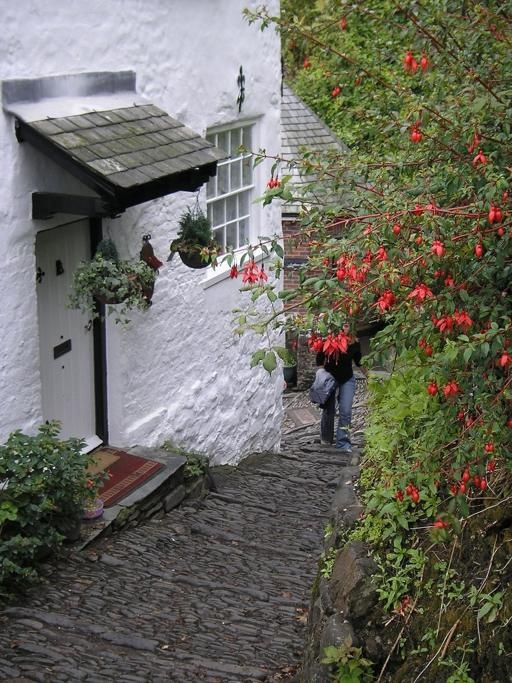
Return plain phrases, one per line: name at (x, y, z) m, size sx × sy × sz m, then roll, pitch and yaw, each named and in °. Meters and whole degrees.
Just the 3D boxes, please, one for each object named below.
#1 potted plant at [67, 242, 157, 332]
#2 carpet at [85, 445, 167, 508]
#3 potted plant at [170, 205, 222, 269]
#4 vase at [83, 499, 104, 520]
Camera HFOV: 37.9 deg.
potted plant at (-1.042, -0.380, 5.463) m, size 0.632 × 0.279 × 0.573 m, roll 7°, pitch 19°, yaw 4°
carpet at (-1.211, 1.082, 6.209) m, size 0.667 × 0.052 × 0.705 m, roll 19°, pitch 35°, yaw 15°
potted plant at (-0.510, -0.859, 6.248) m, size 0.371 × 0.496 × 0.395 m, roll 0°, pitch 9°, yaw 27°
vase at (-1.196, 1.218, 5.448) m, size 0.170 × 0.072 × 0.173 m, roll 0°, pitch 1°, yaw 1°
